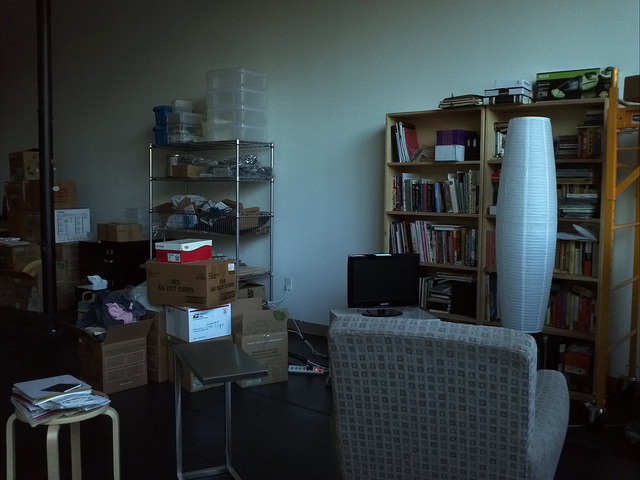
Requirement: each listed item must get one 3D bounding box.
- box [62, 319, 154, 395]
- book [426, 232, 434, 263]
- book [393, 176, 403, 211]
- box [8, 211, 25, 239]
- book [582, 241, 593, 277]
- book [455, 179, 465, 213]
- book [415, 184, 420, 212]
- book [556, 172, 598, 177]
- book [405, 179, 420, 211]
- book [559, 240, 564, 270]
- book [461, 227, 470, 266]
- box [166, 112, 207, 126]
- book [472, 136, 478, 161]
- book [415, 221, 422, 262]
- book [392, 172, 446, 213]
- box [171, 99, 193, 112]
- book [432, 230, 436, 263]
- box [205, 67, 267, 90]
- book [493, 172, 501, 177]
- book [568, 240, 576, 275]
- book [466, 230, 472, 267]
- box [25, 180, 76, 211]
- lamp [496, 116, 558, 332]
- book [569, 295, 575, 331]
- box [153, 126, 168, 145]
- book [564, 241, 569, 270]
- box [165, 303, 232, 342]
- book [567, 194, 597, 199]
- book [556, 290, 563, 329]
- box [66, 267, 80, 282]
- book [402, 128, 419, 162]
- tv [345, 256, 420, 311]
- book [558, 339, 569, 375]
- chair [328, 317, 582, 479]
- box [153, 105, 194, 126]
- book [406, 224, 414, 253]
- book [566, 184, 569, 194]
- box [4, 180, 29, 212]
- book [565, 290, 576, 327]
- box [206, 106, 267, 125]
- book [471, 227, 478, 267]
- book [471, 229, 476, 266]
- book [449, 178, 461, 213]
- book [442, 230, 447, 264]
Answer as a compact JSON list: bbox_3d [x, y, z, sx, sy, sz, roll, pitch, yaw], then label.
[{"bbox_3d":[-1.673,0.846,4.142,0.599,0.454,0.655,1,1,43],"label":"box"},{"bbox_3d":[0.944,0.056,4.455,0.048,0.335,0.269,-2,1,11],"label":"book"},{"bbox_3d":[0.687,-0.401,4.584,0.102,0.285,0.072,4,12,18],"label":"book"},{"bbox_3d":[-4.046,-0.196,6.932,0.390,0.372,0.219,0,0,42],"label":"box"},{"bbox_3d":[1.986,0.140,3.859,0.087,0.254,0.041,7,13,31],"label":"book"},{"bbox_3d":[1.161,-0.359,4.306,0.087,0.273,0.029,5,12,21],"label":"book"},{"bbox_3d":[0.840,-0.361,4.494,0.043,0.228,0.025,4,12,19],"label":"book"},{"bbox_3d":[1.876,-0.482,3.835,0.238,0.030,0.052,3,11,16],"label":"book"},{"bbox_3d":[0.804,-0.387,4.514,0.157,0.263,0.286,1,1,19],"label":"book"},{"bbox_3d":[1.840,0.120,3.956,0.030,0.228,0.018,3,11,14],"label":"book"},{"bbox_3d":[1.203,0.061,4.295,0.058,0.341,0.316,1,1,20],"label":"book"},{"bbox_3d":[-1.472,-1.357,5.846,0.200,0.083,0.269,5,7,41],"label":"box"},{"bbox_3d":[1.281,-0.746,4.288,0.045,0.169,0.048,0,11,-1],"label":"book"},{"bbox_3d":[0.857,0.018,4.492,0.016,0.341,0.098,-6,13,-29],"label":"book"},{"bbox_3d":[0.899,-0.377,4.585,0.356,0.437,0.475,1,3,30],"label":"book"},{"bbox_3d":[-1.559,-1.511,5.897,0.180,0.104,0.174,0,3,-37],"label":"box"},{"bbox_3d":[0.975,0.065,4.440,0.010,0.263,0.051,-8,14,-35],"label":"book"},{"bbox_3d":[-0.875,-1.705,5.495,0.470,0.247,0.463,6,12,28],"label":"box"},{"bbox_3d":[1.401,-0.508,4.119,0.056,0.053,0.013,3,2,30],"label":"book"},{"bbox_3d":[1.902,0.133,3.917,0.048,0.189,0.199,6,1,20],"label":"book"},{"bbox_3d":[1.229,0.067,4.282,0.046,0.388,0.311,1,-1,16],"label":"book"},{"bbox_3d":[-3.507,-0.633,7.009,0.658,0.425,0.639,9,13,17],"label":"box"},{"bbox_3d":[1.448,-0.091,3.652,0.400,1.506,0.296,5,12,21],"label":"lamp"},{"bbox_3d":[1.918,0.568,3.946,0.048,0.191,0.202,7,4,27],"label":"book"},{"bbox_3d":[-1.816,-1.185,5.977,0.210,0.222,0.242,0,-1,-18],"label":"box"},{"bbox_3d":[1.872,0.125,3.943,0.039,0.216,0.017,9,14,37],"label":"book"},{"bbox_3d":[-0.982,0.655,4.243,0.521,0.212,0.504,-4,2,6],"label":"box"},{"bbox_3d":[1.932,-0.317,3.826,0.197,0.034,0.022,5,12,22],"label":"book"},{"bbox_3d":[1.841,0.542,3.991,0.057,0.368,0.296,1,1,24],"label":"book"},{"bbox_3d":[-3.137,0.455,6.596,0.108,0.163,0.161,3,6,17],"label":"box"},{"bbox_3d":[0.792,-0.837,4.586,0.062,0.254,0.271,-2,0,36],"label":"book"},{"bbox_3d":[0.517,0.352,4.273,0.487,0.319,0.133,0,6,-4],"label":"tv"},{"bbox_3d":[1.888,0.907,4.025,0.062,0.236,0.165,6,12,27],"label":"book"},{"bbox_3d":[0.647,0.620,2.572,0.895,0.847,0.854,2,5,21],"label":"chair"},{"bbox_3d":[-1.770,-1.419,5.910,0.228,0.196,0.251,1,1,-10],"label":"box"},{"bbox_3d":[0.782,-0.010,4.540,0.024,0.235,0.076,-8,13,-34],"label":"book"},{"bbox_3d":[1.861,-0.380,3.903,0.023,0.062,0.070,1,-2,14],"label":"book"},{"bbox_3d":[-3.994,-0.579,6.848,0.476,0.431,0.318,3,4,38],"label":"box"},{"bbox_3d":[1.894,0.533,3.961,0.047,0.190,0.202,9,9,23],"label":"book"},{"bbox_3d":[-0.815,-1.296,5.428,0.316,0.110,0.310,6,8,41],"label":"box"},{"bbox_3d":[1.260,0.073,4.261,0.050,0.301,0.089,3,12,16],"label":"book"},{"bbox_3d":[1.259,0.052,4.269,0.035,0.251,0.048,1,11,2],"label":"book"},{"bbox_3d":[1.116,-0.367,4.308,0.094,0.279,0.041,3,11,12],"label":"book"},{"bbox_3d":[1.054,0.069,4.387,0.051,0.273,0.027,4,12,19],"label":"book"}]
